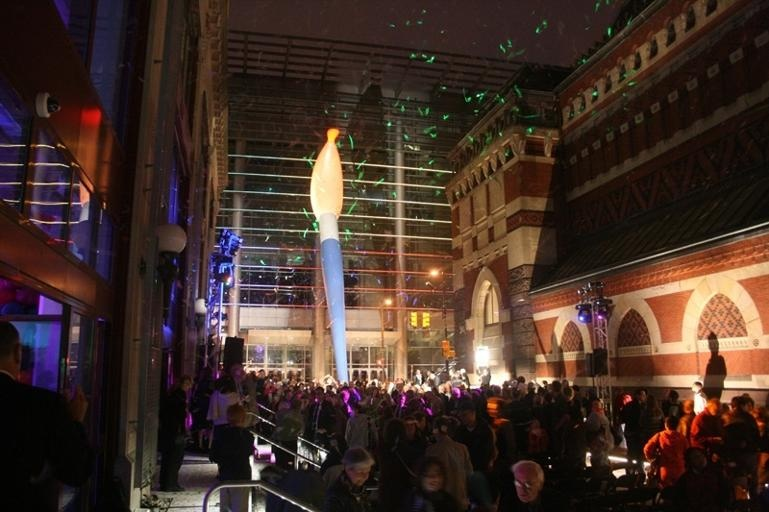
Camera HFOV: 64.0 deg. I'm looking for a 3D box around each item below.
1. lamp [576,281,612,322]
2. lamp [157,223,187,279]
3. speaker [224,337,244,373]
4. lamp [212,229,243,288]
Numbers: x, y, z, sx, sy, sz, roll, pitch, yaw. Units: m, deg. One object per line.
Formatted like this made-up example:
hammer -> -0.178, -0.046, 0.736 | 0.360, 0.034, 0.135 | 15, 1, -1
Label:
lamp -> 8.533, 1.844, 24.910 | 0.729, 1.483, 1.459 | 9, -15, -13
lamp -> -4.734, -0.081, 13.618 | 0.570, 1.515, 1.565 | 6, -18, -18
speaker -> -5.058, 3.186, 20.745 | 0.696, 1.230, 0.718 | 5, 9, -4
lamp -> -5.751, 0.012, 22.440 | 0.839, 2.616, 2.932 | 4, -18, -13
